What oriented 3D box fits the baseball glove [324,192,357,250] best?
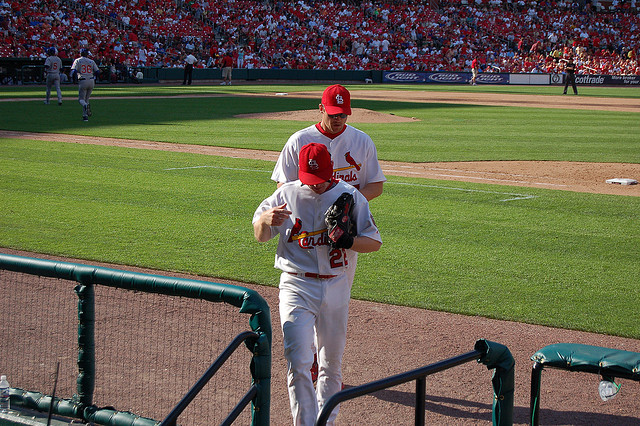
[{"bbox_3d":[0.182,-0.025,8.783,0.312,0.360,0.655,2,-25,-2],"label":"baseball glove"}]

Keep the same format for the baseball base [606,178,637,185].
[{"bbox_3d":[6.018,-0.629,17.115,0.555,0.108,0.339,4,6,14],"label":"baseball base"}]

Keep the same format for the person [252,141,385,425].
[{"bbox_3d":[-0.103,0.700,8.993,0.994,2.844,0.939,10,9,41],"label":"person"}]

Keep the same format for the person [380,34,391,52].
[{"bbox_3d":[4.258,-11.014,55.288,0.757,1.166,1.876,4,6,3],"label":"person"}]
